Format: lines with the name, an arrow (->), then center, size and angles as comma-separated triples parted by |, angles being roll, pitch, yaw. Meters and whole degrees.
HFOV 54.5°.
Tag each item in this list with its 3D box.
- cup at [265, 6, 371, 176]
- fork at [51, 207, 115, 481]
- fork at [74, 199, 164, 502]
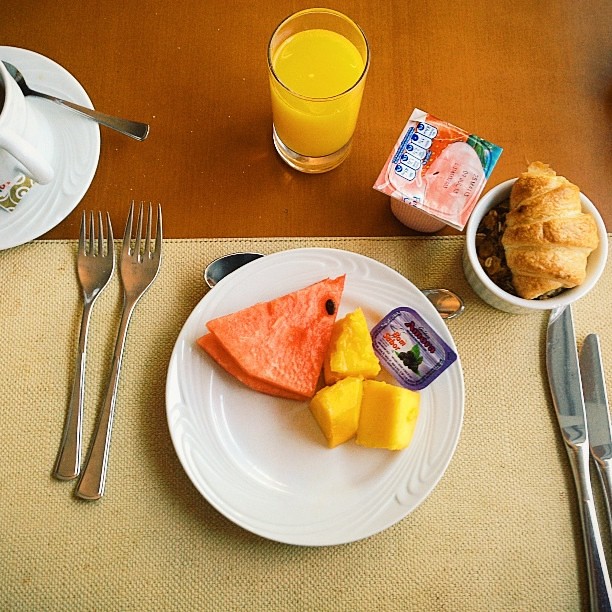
cup -> 0.019, -0.358, 1.014 | 0.173, 0.246, 0.171 | 1, 71, -3
fork -> -0.356, 0.048, 0.979 | 0.060, 0.053, 0.455 | 5, 84, -2
fork -> -0.299, 0.059, 0.973 | 0.072, 0.063, 0.499 | 6, 79, 0
